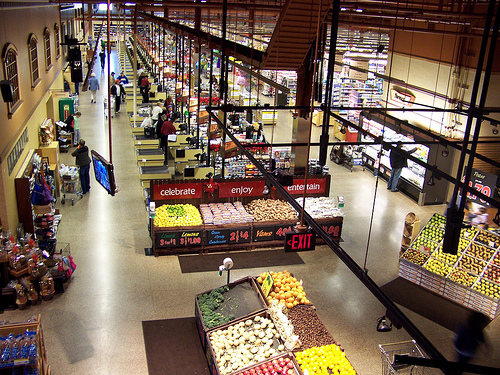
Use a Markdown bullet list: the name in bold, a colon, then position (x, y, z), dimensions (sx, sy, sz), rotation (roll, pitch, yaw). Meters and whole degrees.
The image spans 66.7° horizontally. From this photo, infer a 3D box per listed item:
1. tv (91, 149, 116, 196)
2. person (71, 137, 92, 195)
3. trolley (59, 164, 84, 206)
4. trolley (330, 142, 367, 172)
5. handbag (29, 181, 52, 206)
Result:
- **tv**: position (-2.985, -0.185, 7.852), dimensions (0.339, 1.103, 1.756), rotation (-11, 22, -22)
- **person**: position (-5.792, -0.770, 13.134), dimensions (0.501, 1.969, 0.647), rotation (-4, 21, -29)
- **trolley**: position (-6.093, -0.084, 12.864), dimensions (0.697, 1.009, 1.088), rotation (-11, 22, -22)
- **trolley**: position (4.603, -1.381, 17.728), dimensions (1.325, 1.544, 1.582), rotation (-8, 17, -27)
- **handbag**: position (-5.369, 0.165, 9.684), dimensions (0.514, 0.531, 0.312), rotation (2, 29, -13)
